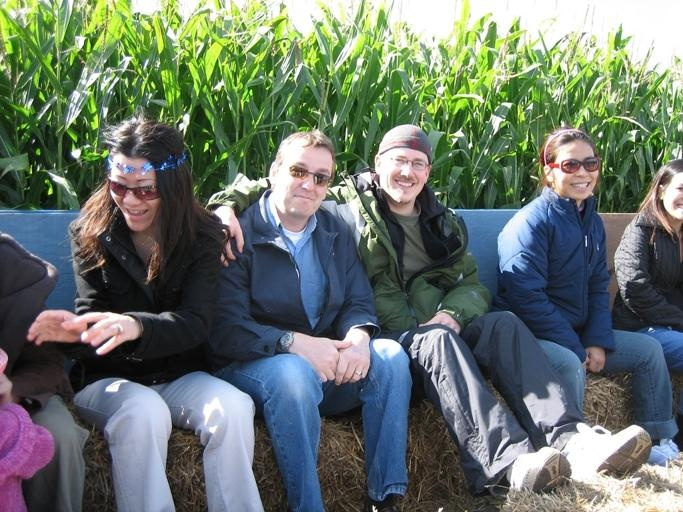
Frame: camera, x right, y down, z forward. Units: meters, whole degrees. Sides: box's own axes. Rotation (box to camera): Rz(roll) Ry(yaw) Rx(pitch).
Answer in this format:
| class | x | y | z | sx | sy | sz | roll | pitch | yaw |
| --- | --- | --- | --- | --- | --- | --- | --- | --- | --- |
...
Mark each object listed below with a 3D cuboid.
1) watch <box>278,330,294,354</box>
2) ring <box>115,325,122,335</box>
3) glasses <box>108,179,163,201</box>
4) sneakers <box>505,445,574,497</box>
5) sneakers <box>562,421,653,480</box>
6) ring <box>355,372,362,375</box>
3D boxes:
| class | x | y | z | sx | sy | sz | roll | pitch | yaw |
| --- | --- | --- | --- | --- | --- | --- | --- | --- | --- |
| watch | -0.254 | 0.415 | 2.670 | 0.055 | 0.092 | 0.090 | 22 | -22 | 24 |
| ring | -0.891 | 0.296 | 2.267 | 0.028 | 0.030 | 0.025 | -26 | 4 | -42 |
| glasses | -0.904 | -0.282 | 2.459 | 0.208 | 0.078 | 0.046 | 4 | 5 | 5 |
| sneakers | 0.807 | 0.890 | 2.343 | 0.242 | 0.119 | 0.139 | -29 | -8 | 40 |
| sneakers | 1.136 | 0.828 | 2.457 | 0.378 | 0.224 | 0.166 | 3 | 5 | -9 |
| ring | 0.079 | 0.552 | 2.648 | 0.017 | 0.018 | 0.004 | 5 | -4 | -28 |
